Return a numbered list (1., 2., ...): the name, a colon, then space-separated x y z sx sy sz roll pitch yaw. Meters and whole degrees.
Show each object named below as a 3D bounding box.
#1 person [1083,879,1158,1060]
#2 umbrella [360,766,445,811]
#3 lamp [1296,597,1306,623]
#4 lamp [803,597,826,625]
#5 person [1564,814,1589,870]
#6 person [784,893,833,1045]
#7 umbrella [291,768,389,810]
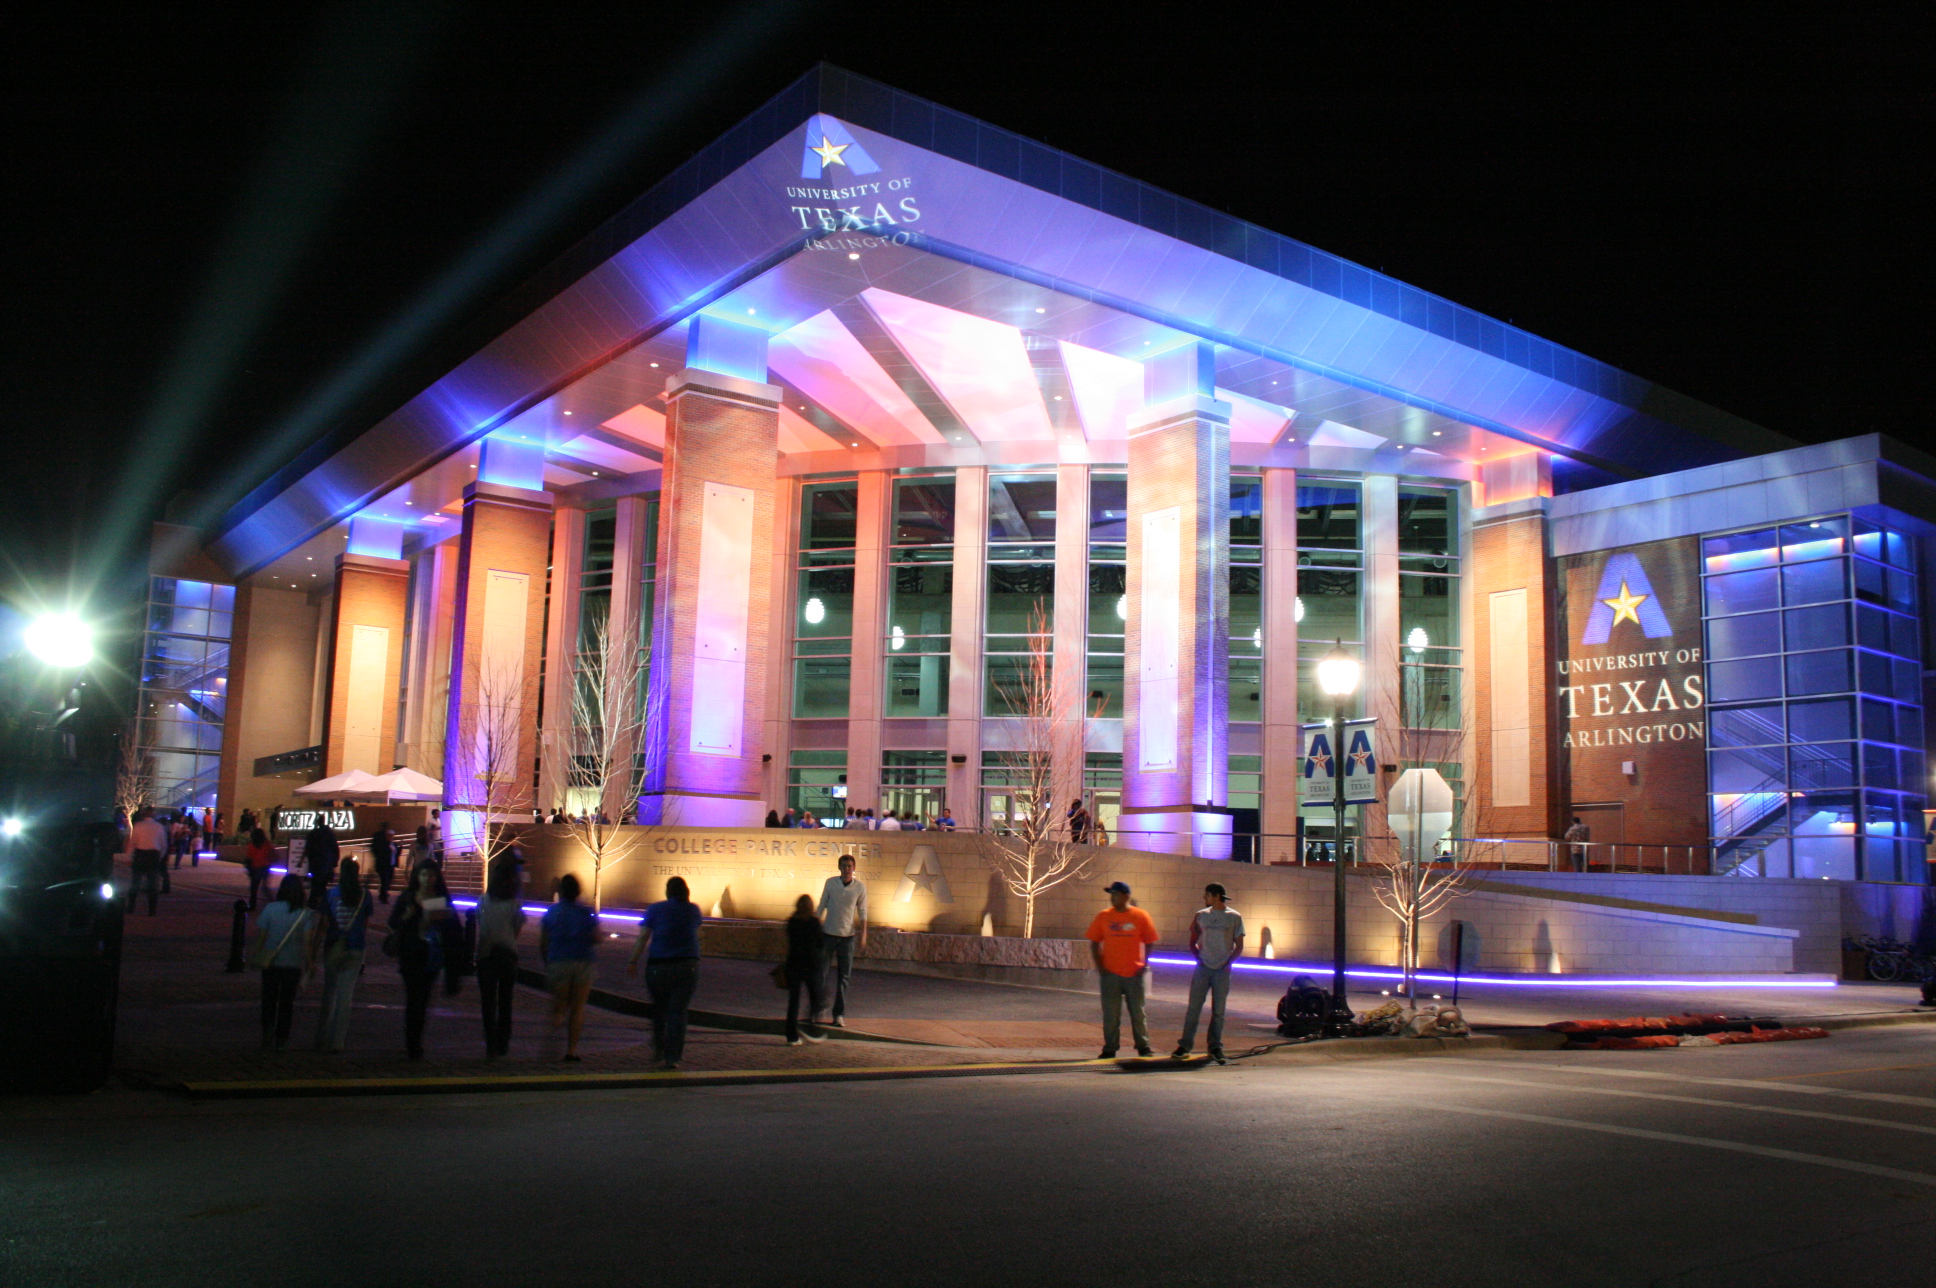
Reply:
1. person: 1.984 4.142 18.194 0.751 2.158 0.932 1 -9 8
2. umbrella: -17.086 4.349 43.744 2.101 0.807 2.020 -2 -10 14
3. lamp: 10.805 -1.122 46.326 0.210 0.789 0.847 -3 -10 30
4. lamp: -5.145 -1.160 48.521 0.878 1.004 0.858 -6 10 -35
5. person: 17.977 5.851 41.845 0.647 1.455 2.553 -2 -10 23
6. person: -2.134 4.175 18.455 0.514 1.867 1.470 3 -9 -5
7. umbrella: -21.117 4.875 48.047 2.166 0.853 2.146 -7 -11 41
